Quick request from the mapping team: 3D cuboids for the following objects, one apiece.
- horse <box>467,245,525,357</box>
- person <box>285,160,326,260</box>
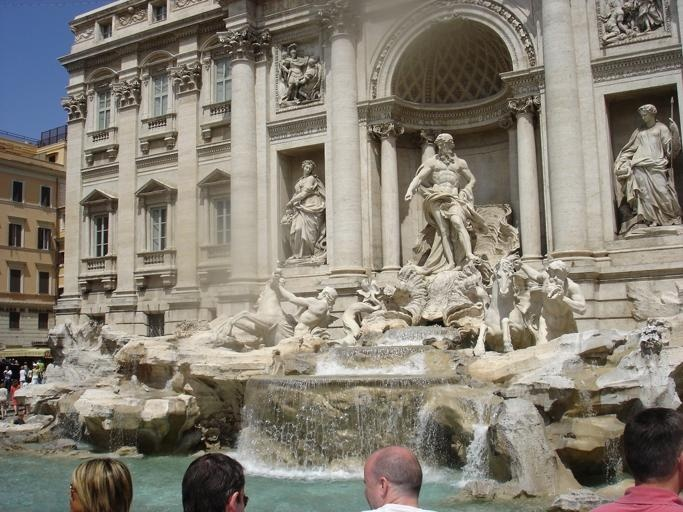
[{"bbox_3d":[3.726,1.107,16.334,1.217,2.473,2.117,-6,-12,13],"label":"horse"},{"bbox_3d":[-1.116,-1.502,22.636,1.356,3.206,0.649,-5,-12,11],"label":"person"}]
